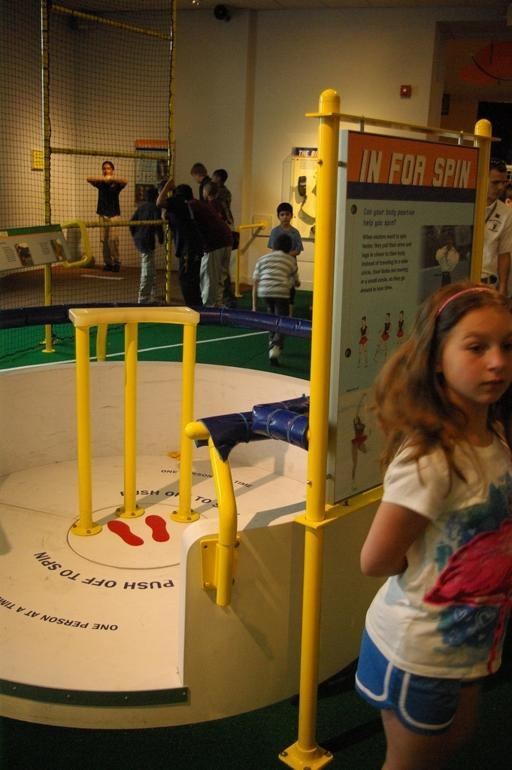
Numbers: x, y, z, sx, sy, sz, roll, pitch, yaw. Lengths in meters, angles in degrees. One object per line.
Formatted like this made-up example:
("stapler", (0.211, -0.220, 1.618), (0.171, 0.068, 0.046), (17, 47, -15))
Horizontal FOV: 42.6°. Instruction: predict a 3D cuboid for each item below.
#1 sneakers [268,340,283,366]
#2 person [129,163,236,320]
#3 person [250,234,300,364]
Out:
("sneakers", (0.183, -0.312, 6.517), (0.089, 0.262, 0.112), (0, 44, 2))
("person", (-0.685, -1.513, 7.257), (0.547, 1.343, 1.105), (10, 17, 34))
("person", (0.193, -0.852, 6.556), (0.461, 1.248, 0.702), (0, 14, 0))
